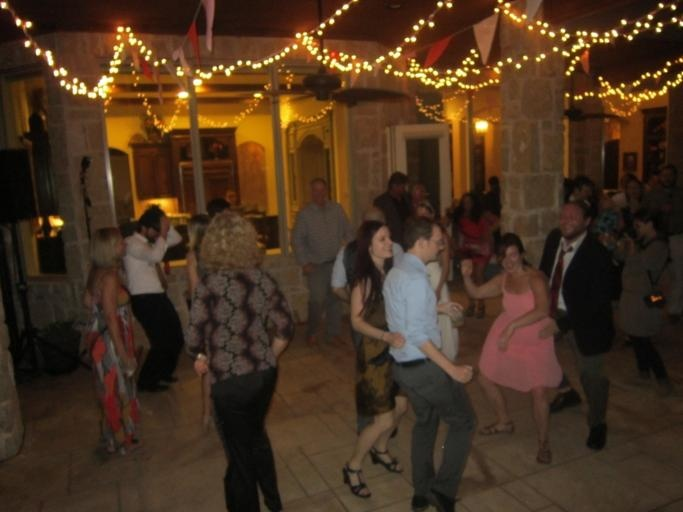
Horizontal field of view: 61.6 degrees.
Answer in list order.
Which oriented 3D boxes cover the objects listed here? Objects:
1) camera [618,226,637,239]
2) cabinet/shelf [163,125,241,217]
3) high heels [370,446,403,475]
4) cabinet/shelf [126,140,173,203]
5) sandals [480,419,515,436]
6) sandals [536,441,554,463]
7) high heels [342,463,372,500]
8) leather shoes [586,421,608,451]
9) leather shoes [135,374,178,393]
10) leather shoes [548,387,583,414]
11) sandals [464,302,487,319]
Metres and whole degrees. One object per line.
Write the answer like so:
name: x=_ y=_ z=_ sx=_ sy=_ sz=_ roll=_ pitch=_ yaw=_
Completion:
camera: x=3.737 y=-0.305 z=7.500 sx=0.171 sy=0.191 sz=0.176 roll=-6 pitch=11 yaw=-27
cabinet/shelf: x=-3.175 y=-1.862 z=13.629 sx=1.425 sy=2.721 sz=0.655 roll=-4 pitch=34 yaw=-13
high heels: x=0.394 y=1.856 z=5.313 sx=0.338 sy=0.157 sz=0.129 roll=10 pitch=20 yaw=35
cabinet/shelf: x=-4.242 y=-1.835 z=13.117 sx=0.914 sy=1.274 sz=0.584 roll=-8 pitch=-10 yaw=-16
sandals: x=1.523 y=1.685 z=5.643 sx=0.317 sy=0.139 sz=0.143 roll=2 pitch=6 yaw=4
sandals: x=1.857 y=1.808 z=5.251 sx=0.106 sy=0.224 sz=0.078 roll=0 pitch=-19 yaw=19
high heels: x=0.134 y=1.940 z=4.968 sx=0.125 sy=0.163 sz=0.379 roll=-3 pitch=3 yaw=-22
leather shoes: x=2.381 y=1.652 z=5.395 sx=0.145 sy=0.277 sz=0.169 roll=11 pitch=-1 yaw=38
leather shoes: x=-2.217 y=1.525 z=6.882 sx=0.467 sy=0.219 sz=0.154 roll=10 pitch=-11 yaw=-24
leather shoes: x=2.341 y=1.508 z=6.003 sx=0.415 sy=0.240 sz=0.155 roll=-11 pitch=5 yaw=-9
sandals: x=2.065 y=0.838 z=8.835 sx=0.223 sy=0.307 sz=0.279 roll=0 pitch=-4 yaw=17
